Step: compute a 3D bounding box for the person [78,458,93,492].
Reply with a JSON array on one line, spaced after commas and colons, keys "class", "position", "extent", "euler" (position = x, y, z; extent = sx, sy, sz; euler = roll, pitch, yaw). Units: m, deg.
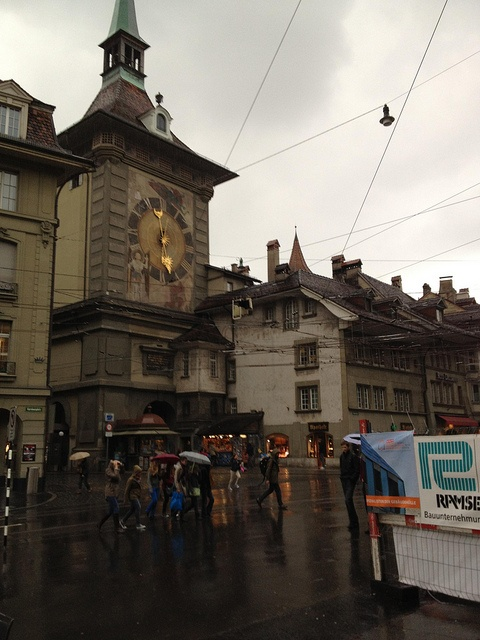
[{"class": "person", "position": [-7.174, 7.165, 23.218], "extent": [0.558, 1.517, 2.332], "euler": [2, -14, -17]}]

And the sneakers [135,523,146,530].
[{"class": "sneakers", "position": [-2.477, 5.237, 12.695], "extent": [0.274, 0.207, 0.149], "euler": [-1, -4, -3]}]

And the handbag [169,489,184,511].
[{"class": "handbag", "position": [-1.752, 5.136, 14.193], "extent": [0.380, 0.601, 0.537], "euler": [6, -16, -31]}]

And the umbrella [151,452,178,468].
[{"class": "umbrella", "position": [-2.280, 4.322, 15.634], "extent": [0.601, 0.272, 0.614], "euler": [-10, -15, 35]}]

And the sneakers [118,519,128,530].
[{"class": "sneakers", "position": [-2.863, 5.079, 12.387], "extent": [0.159, 0.204, 0.491], "euler": [7, -8, -8]}]

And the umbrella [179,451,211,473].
[{"class": "umbrella", "position": [-1.208, 3.945, 14.248], "extent": [0.572, 0.230, 0.587], "euler": [5, -22, 36]}]
